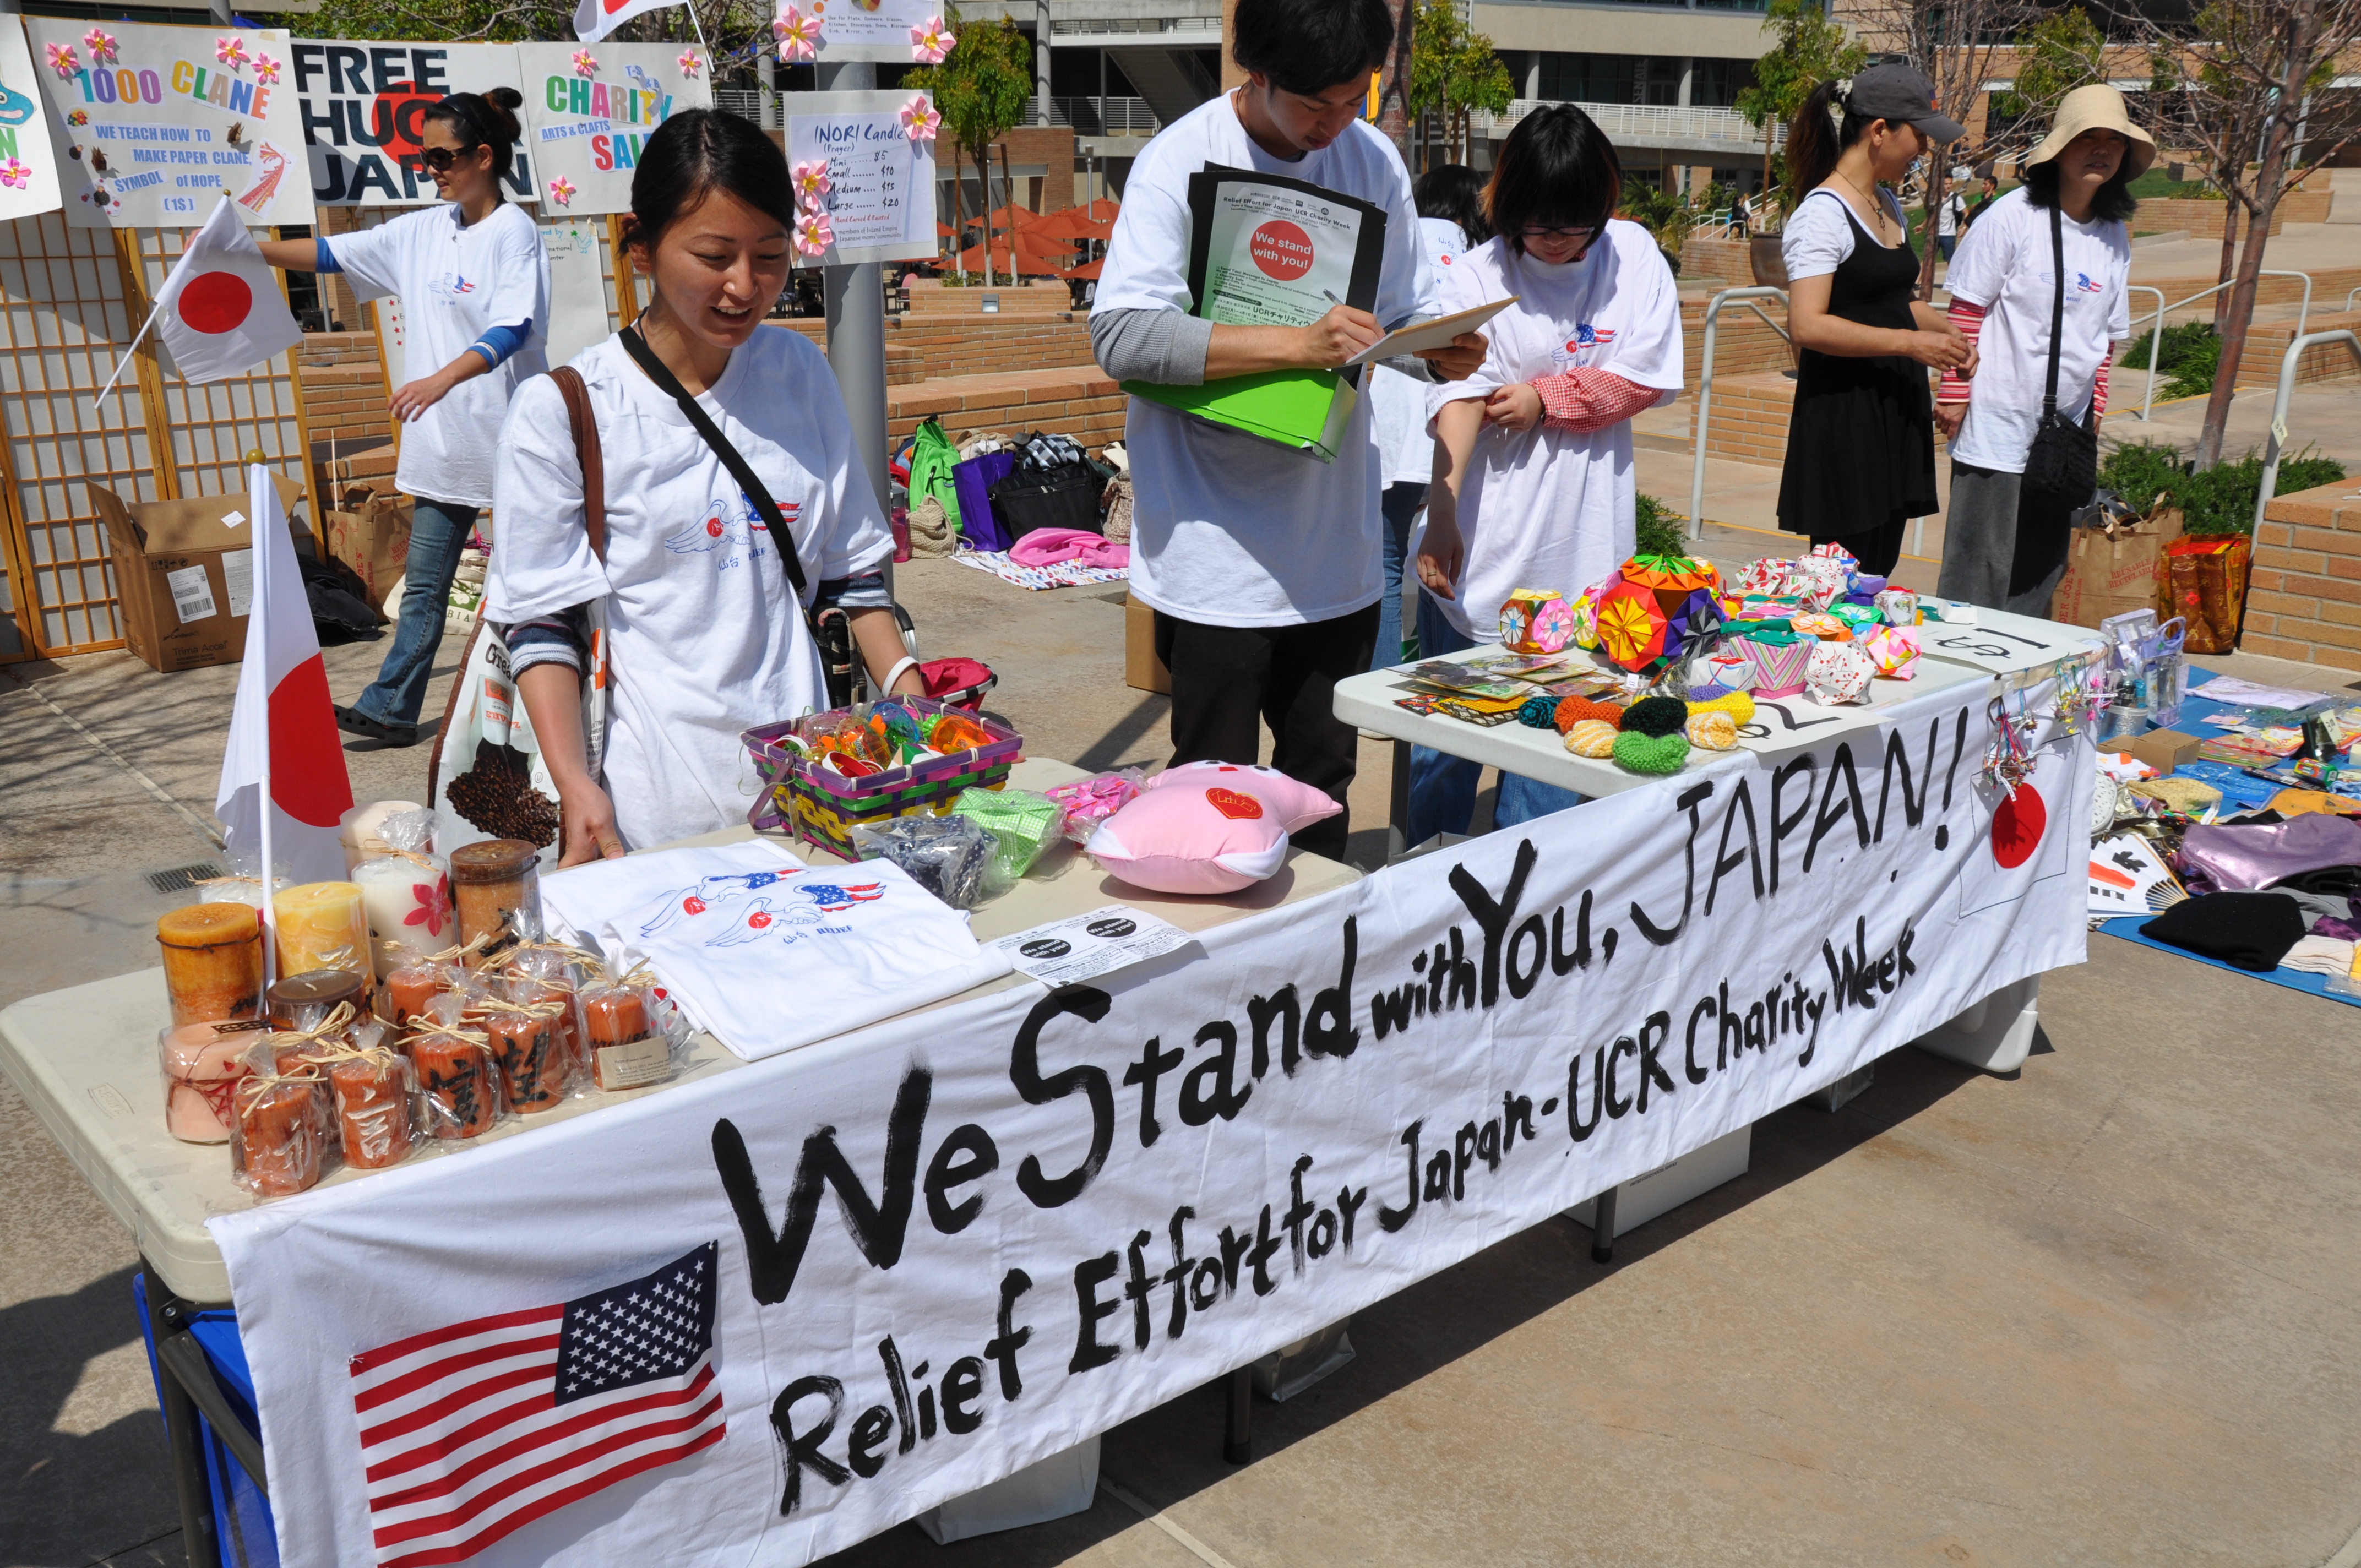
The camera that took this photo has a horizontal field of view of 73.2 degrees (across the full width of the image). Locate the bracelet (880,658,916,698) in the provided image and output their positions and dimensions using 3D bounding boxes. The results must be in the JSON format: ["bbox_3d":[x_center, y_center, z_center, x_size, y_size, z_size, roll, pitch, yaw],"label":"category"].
[{"bbox_3d":[-0.649,-0.244,3.622,0.074,0.058,0.102,-4,62,6],"label":"bracelet"}]

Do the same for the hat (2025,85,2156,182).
[{"bbox_3d":[3.626,-2.585,6.272,0.411,0.325,0.720,9,23,26],"label":"hat"}]

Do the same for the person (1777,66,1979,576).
[{"bbox_3d":[2.539,-1.670,5.913,0.722,1.891,0.956,13,24,34],"label":"person"}]

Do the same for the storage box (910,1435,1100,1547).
[{"bbox_3d":[-0.350,1.502,3.352,0.254,0.163,0.250,-12,17,-35],"label":"storage box"}]

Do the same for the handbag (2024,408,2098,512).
[{"bbox_3d":[3.523,-1.298,6.339,0.155,0.365,0.339,8,15,40],"label":"handbag"}]

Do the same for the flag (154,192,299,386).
[{"bbox_3d":[-4.015,-2.020,6.579,0.454,0.727,0.731,-10,22,-23],"label":"flag"}]

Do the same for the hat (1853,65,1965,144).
[{"bbox_3d":[2.548,-2.377,5.601,0.352,0.139,0.230,23,40,7],"label":"hat"}]

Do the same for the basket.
[{"bbox_3d":[-0.605,-0.063,3.370,0.416,0.157,0.352,-15,25,-39],"label":"basket"}]

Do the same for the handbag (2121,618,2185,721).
[{"bbox_3d":[4.220,-0.503,6.877,0.219,0.403,0.217,-36,35,-8],"label":"handbag"}]

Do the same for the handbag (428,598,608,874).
[{"bbox_3d":[-1.633,-0.090,3.679,0.445,0.620,0.181,-5,12,-8],"label":"handbag"}]
